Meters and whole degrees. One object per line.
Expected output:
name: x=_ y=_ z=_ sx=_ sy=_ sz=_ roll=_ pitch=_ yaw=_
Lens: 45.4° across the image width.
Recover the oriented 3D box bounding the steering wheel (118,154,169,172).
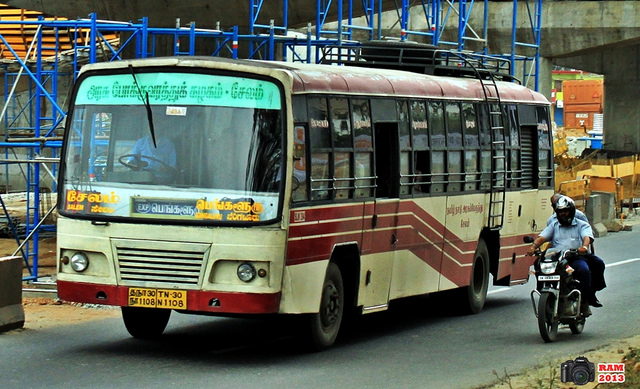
steering wheel: x=-2.651 y=-0.467 z=11.340 sx=0.741 sy=0.258 sz=0.047 roll=2 pitch=3 yaw=17

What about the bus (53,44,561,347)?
bus: x=1.419 y=-0.284 z=16.476 sx=4.404 sy=5.396 sz=13.898 roll=2 pitch=5 yaw=33

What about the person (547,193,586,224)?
person: x=4.509 y=0.240 z=14.145 sx=0.554 sy=0.727 sz=0.742 roll=-5 pitch=-18 yaw=29
